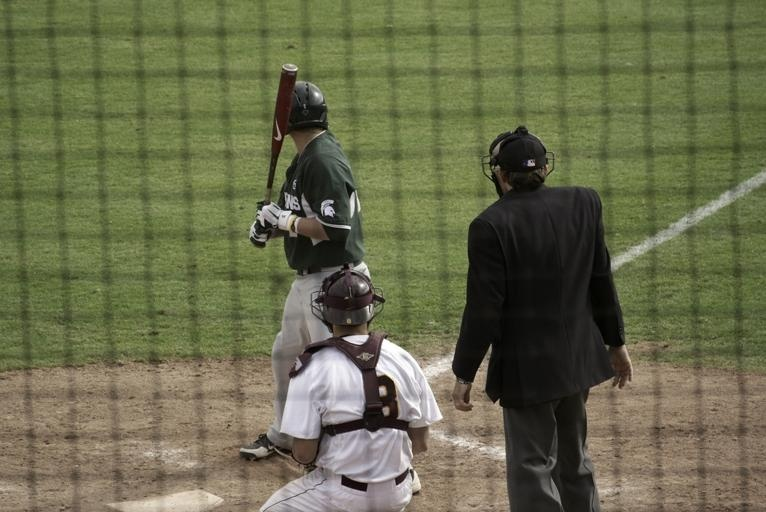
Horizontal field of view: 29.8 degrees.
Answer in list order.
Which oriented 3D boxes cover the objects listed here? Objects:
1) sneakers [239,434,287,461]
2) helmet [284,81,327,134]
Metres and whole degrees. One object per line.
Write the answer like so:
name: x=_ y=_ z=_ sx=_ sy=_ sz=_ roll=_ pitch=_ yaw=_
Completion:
sneakers: x=-1.260 y=2.010 z=14.977 sx=0.611 sy=0.251 sz=0.203 roll=3 pitch=0 yaw=-14
helmet: x=-0.758 y=-1.502 z=14.633 sx=0.510 sy=0.438 sz=0.490 roll=2 pitch=18 yaw=-6
